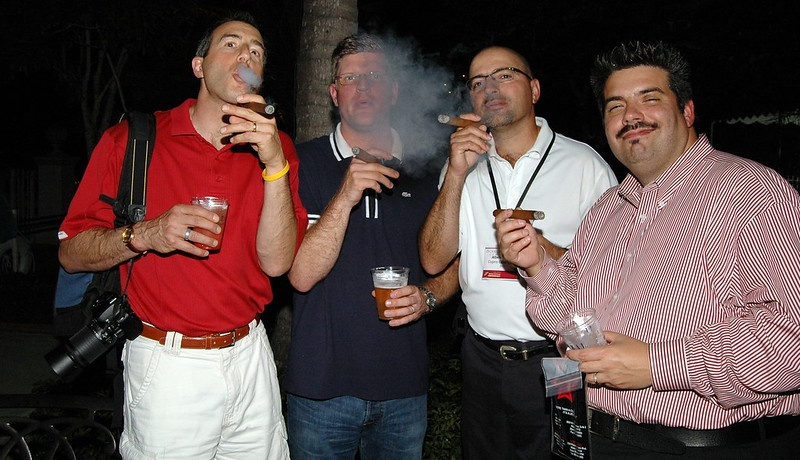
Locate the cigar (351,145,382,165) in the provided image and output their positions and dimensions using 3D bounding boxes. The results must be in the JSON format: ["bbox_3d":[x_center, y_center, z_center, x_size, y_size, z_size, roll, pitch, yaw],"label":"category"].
[{"bbox_3d":[-0.250,-0.592,4.378,0.351,0.085,0.089,18,-31,-40],"label":"cigar"}]

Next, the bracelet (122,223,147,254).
[{"bbox_3d":[-2.007,0.056,3.870,0.088,0.200,0.203,-15,-21,1],"label":"bracelet"}]

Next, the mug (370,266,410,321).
[{"bbox_3d":[-0.097,0.504,4.284,0.411,0.411,0.425,-1,-1,28],"label":"mug"}]

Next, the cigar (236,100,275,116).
[{"bbox_3d":[-1.161,-0.939,4.075,0.383,0.094,0.115,14,31,31],"label":"cigar"}]

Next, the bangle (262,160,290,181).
[{"bbox_3d":[-0.970,-0.474,4.119,0.160,0.038,0.173,-17,3,41],"label":"bangle"}]

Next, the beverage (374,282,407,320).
[{"bbox_3d":[-0.106,0.589,4.297,0.292,0.265,0.272,1,-3,-8],"label":"beverage"}]

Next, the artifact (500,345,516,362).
[{"bbox_3d":[0.949,1.065,4.579,0.142,0.099,0.084,3,2,31],"label":"artifact"}]
